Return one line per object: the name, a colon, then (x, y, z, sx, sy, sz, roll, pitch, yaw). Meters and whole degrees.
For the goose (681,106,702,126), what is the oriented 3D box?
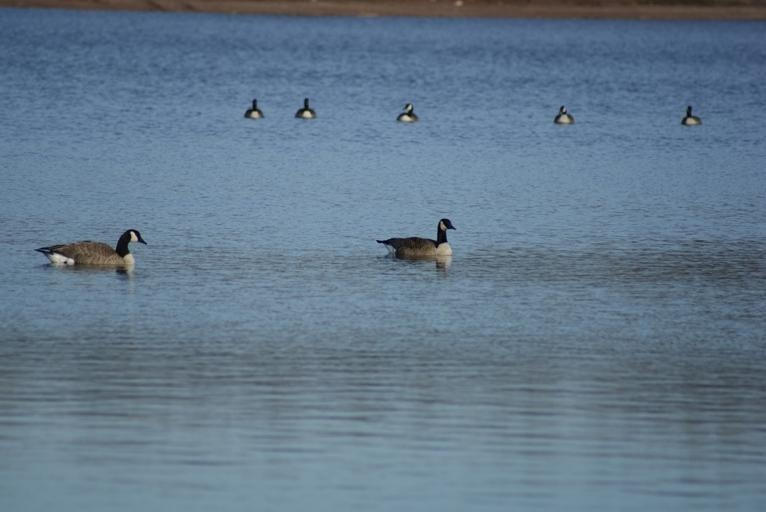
goose: (16.290, -7.172, 64.235, 1.203, 1.313, 0.889, 5, -67, -2)

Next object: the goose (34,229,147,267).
goose: (-8.230, -0.124, 35.456, 2.526, 1.109, 0.773, -4, -67, 1)
